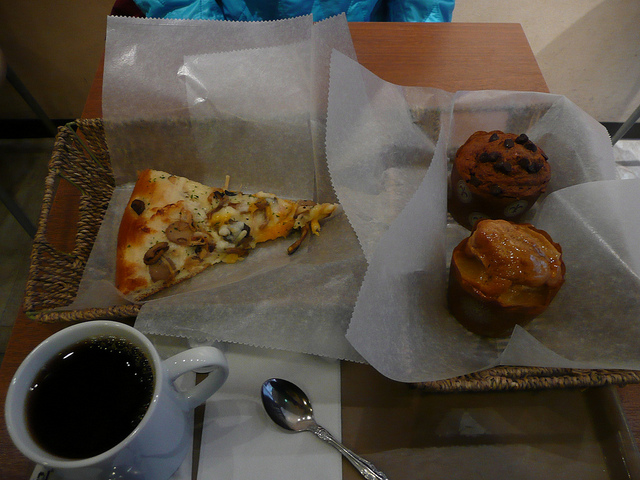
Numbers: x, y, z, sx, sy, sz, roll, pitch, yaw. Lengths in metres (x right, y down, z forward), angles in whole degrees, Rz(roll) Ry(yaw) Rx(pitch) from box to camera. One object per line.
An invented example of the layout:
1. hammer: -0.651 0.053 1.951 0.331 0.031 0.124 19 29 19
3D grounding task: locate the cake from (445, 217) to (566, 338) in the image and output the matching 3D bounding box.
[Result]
1. cake: 0.369 0.082 1.233 0.204 0.216 0.242 -2 66 4

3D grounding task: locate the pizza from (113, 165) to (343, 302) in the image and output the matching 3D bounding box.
1. pizza: -0.265 -0.028 1.419 0.403 0.101 0.321 -1 58 -6
